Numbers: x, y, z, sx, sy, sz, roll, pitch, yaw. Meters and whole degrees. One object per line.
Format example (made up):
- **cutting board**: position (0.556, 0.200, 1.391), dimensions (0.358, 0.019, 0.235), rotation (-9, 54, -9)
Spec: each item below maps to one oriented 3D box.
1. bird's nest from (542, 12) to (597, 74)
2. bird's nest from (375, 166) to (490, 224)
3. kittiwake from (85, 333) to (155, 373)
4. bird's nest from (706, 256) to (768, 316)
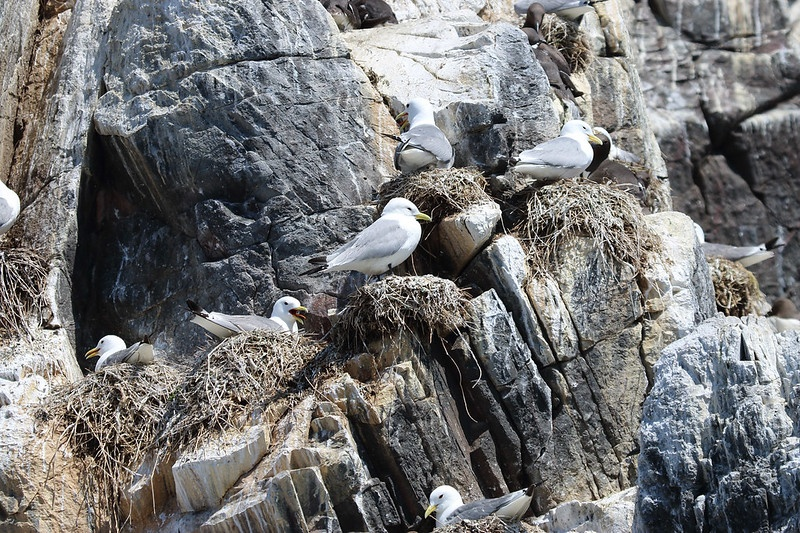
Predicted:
- **bird's nest**: position (2.608, -3.413, 26.650), dimensions (0.438, 0.882, 0.762), rotation (-47, 5, 19)
- **bird's nest**: position (0.613, -1.013, 22.500), dimensions (0.891, 0.304, 0.887), rotation (-12, 14, -36)
- **kittiwake**: position (-3.905, 1.166, 22.915), dimensions (0.932, 0.344, 0.609), rotation (-17, -45, -32)
- **bird's nest**: position (4.972, 0.361, 24.704), dimensions (0.814, 0.997, 0.433), rotation (4, -39, -19)
